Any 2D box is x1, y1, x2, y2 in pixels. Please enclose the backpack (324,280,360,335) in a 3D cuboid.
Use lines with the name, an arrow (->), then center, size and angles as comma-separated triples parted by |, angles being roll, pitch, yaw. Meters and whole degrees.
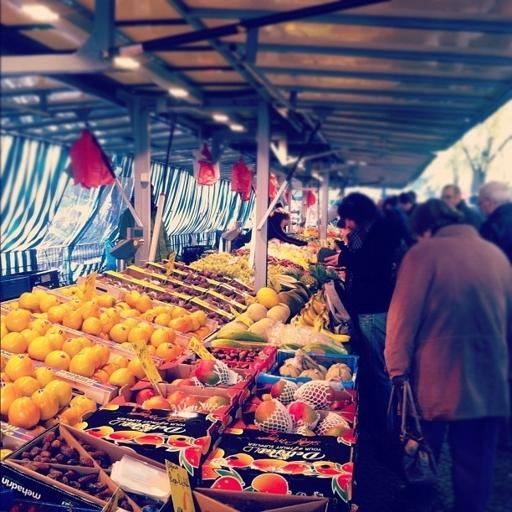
backpack -> 0.708, 0.432, 3.917 | 0.153, 0.408, 0.325 | -15, 2, 6
